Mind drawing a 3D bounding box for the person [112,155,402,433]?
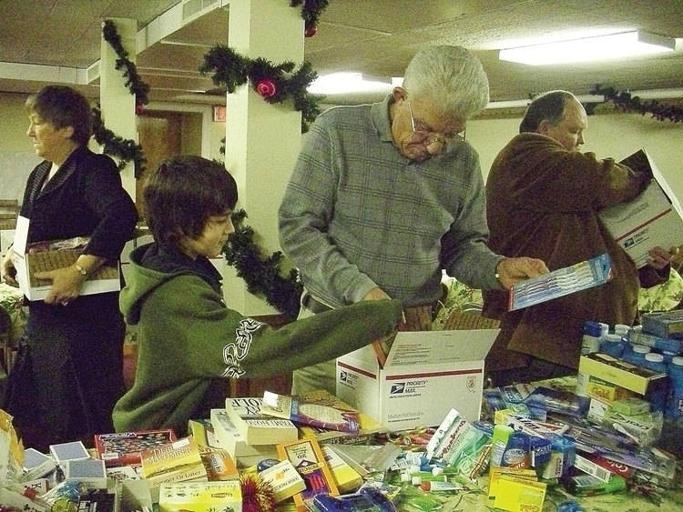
[{"bbox_3d":[-0.321,0.126,1.890,0.844,0.890,0.306,-1,5,5],"label":"person"}]

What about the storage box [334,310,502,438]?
[{"bbox_3d":[0.256,0.390,2.002,0.416,0.274,0.369,2,-6,-29],"label":"storage box"}]

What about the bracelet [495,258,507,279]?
[{"bbox_3d":[0.560,0.044,2.120,0.044,0.043,0.044,34,-40,-23],"label":"bracelet"}]

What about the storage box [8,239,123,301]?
[{"bbox_3d":[-1.214,0.053,2.708,0.331,0.194,0.318,-5,8,-25],"label":"storage box"}]

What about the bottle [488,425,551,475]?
[{"bbox_3d":[0.499,0.534,1.665,0.164,0.125,0.100,0,5,10],"label":"bottle"}]

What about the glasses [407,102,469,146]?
[{"bbox_3d":[0.305,-0.441,1.963,0.184,0.147,0.135,0,5,12],"label":"glasses"}]

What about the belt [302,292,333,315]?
[{"bbox_3d":[-0.089,0.173,2.213,0.086,0.031,0.076,13,-15,47],"label":"belt"}]

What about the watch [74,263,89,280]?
[{"bbox_3d":[-1.115,0.063,2.650,0.062,0.064,0.042,-10,26,36],"label":"watch"}]
